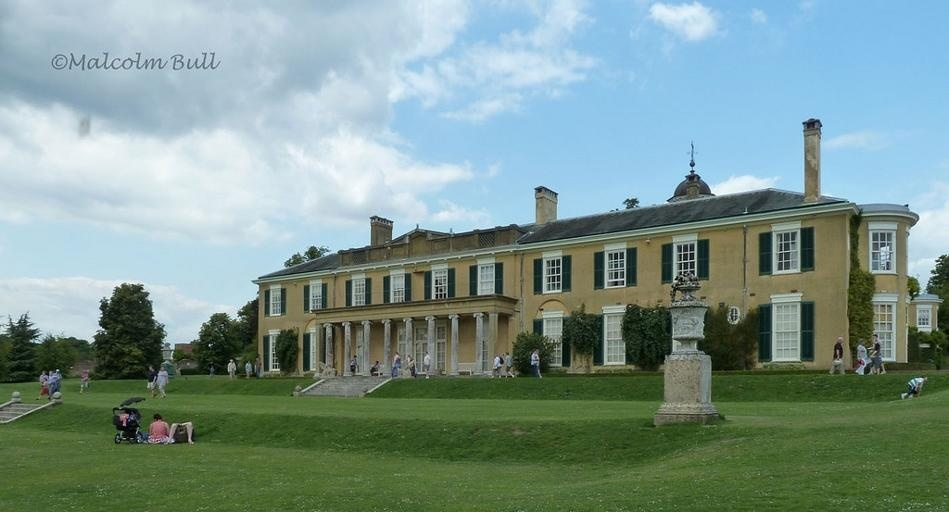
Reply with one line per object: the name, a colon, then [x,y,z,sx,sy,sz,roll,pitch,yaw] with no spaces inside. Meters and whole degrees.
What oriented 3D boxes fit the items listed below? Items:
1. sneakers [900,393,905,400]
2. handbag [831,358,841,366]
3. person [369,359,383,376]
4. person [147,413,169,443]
sneakers: [21.844,7.141,47.390,0.260,0.323,0.107,-7,-23,39]
handbag: [20.727,6.091,53.311,0.424,0.243,0.376,0,-9,-8]
person: [-7.715,8.462,70.050,1.203,1.250,0.836,-1,-7,14]
person: [-15.616,8.513,45.868,1.178,1.410,0.677,0,-13,-3]
